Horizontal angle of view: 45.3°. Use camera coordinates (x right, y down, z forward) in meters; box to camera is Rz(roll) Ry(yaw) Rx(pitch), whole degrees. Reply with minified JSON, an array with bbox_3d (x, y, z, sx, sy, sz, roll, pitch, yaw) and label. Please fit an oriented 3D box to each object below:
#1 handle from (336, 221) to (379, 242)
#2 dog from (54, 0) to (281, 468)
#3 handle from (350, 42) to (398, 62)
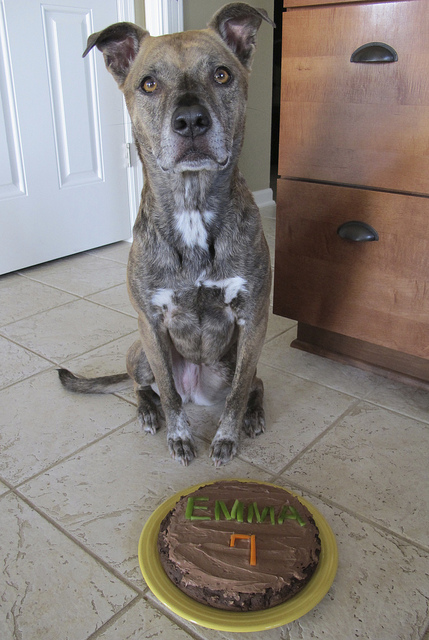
[{"bbox_3d":[0.409,-0.254,1.483,0.038,0.060,0.125,-19,28,-39],"label":"handle"},{"bbox_3d":[-0.096,-0.197,1.280,0.484,1.084,0.406,1,22,3],"label":"dog"},{"bbox_3d":[0.399,-0.673,1.296,0.030,0.048,0.127,-17,27,-35],"label":"handle"}]
